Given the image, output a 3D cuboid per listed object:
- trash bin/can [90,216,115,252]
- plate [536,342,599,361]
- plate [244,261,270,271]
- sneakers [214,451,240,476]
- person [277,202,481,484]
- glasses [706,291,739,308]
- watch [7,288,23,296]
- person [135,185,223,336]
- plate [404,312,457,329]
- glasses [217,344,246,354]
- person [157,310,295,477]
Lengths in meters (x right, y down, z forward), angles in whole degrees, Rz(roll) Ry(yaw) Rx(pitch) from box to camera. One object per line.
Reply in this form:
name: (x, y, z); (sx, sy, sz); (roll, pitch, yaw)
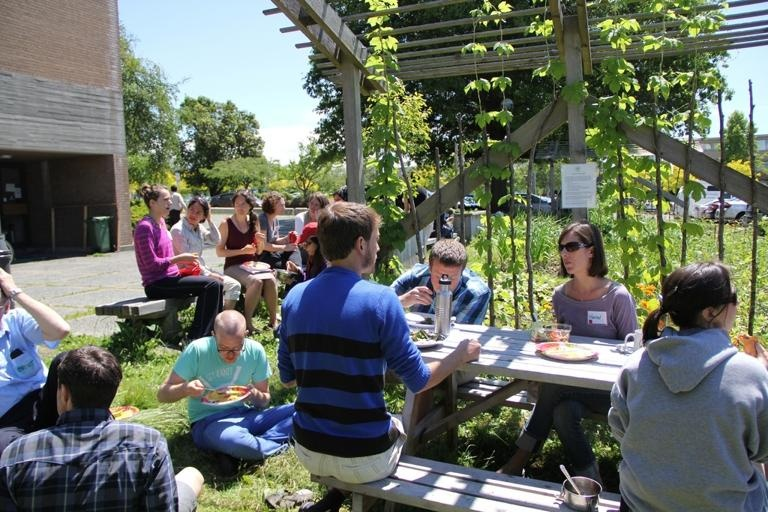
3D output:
trash bin/can: (-7.525, -0.583, 15.681); (0.725, 1.330, 0.862); (-1, 12, -25)
plate: (1.291, 0.676, 4.135); (0.421, 0.083, 0.265); (1, 5, 16)
plate: (-1.622, 0.139, 7.502); (0.364, 0.118, 0.216); (-2, 5, -12)
sneakers: (-1.263, 1.684, 4.734); (0.137, 0.204, 0.198); (1, 22, -10)
person: (-0.204, 0.566, 3.687); (0.832, 1.789, 0.347); (-2, 5, -10)
glasses: (1.954, 0.254, 3.327); (0.109, 0.035, 0.118); (3, -30, 0)
watch: (-2.631, 0.251, 4.187); (0.064, 0.054, 0.069); (-1, -33, -27)
person: (-2.391, 0.168, 6.954); (0.973, 1.917, 0.715); (3, 8, 2)
plate: (0.287, 0.516, 4.713); (0.220, 0.035, 0.228); (4, 16, 6)
glasses: (-1.252, 0.761, 4.804); (0.210, 0.064, 0.107); (-2, 5, -17)
person: (-1.205, 1.068, 4.825); (1.154, 1.201, 0.957); (-1, 6, -20)
